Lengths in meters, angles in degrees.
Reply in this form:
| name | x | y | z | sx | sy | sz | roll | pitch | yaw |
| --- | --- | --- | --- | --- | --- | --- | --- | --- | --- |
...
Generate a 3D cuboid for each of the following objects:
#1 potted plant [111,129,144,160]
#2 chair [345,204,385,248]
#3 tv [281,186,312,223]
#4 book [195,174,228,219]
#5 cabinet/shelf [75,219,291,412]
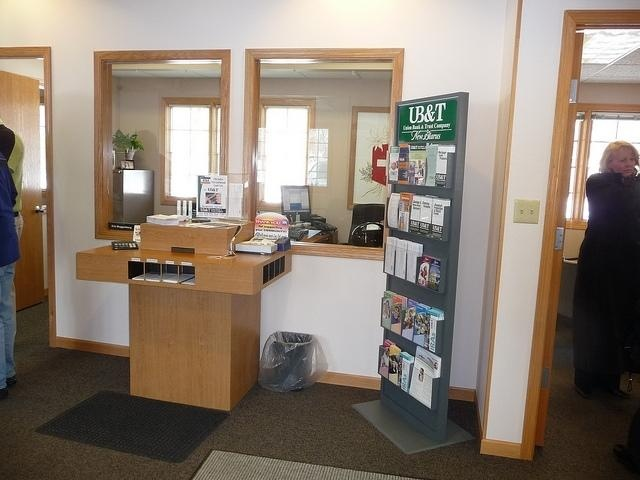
| name | x | y | z | sx | sy | sz | roll | pitch | yaw |
| --- | --- | --- | --- | --- | --- | --- | --- | --- | --- |
| potted plant | -1.707 | -0.842 | 4.569 | 0.249 | 0.218 | 0.248 | 1 | 0 | 17 |
| chair | 0.306 | -0.129 | 4.142 | 0.282 | 0.402 | 0.325 | 3 | 3 | 1 |
| tv | -0.188 | -0.302 | 4.187 | 0.300 | 0.367 | 0.122 | 1 | 6 | 11 |
| book | -0.849 | -0.340 | 3.969 | 0.329 | 0.438 | 0.052 | 1 | 5 | 10 |
| cabinet/shelf | -1.006 | 0.546 | 3.921 | 1.332 | 1.346 | 0.663 | 3 | 8 | 11 |
